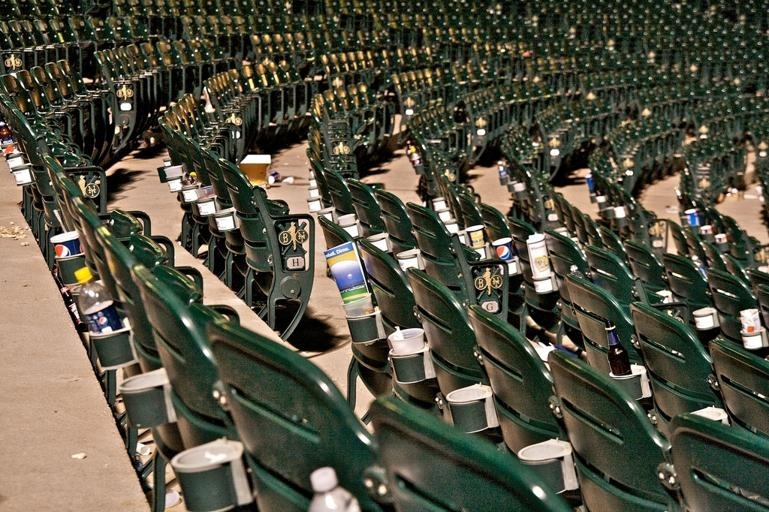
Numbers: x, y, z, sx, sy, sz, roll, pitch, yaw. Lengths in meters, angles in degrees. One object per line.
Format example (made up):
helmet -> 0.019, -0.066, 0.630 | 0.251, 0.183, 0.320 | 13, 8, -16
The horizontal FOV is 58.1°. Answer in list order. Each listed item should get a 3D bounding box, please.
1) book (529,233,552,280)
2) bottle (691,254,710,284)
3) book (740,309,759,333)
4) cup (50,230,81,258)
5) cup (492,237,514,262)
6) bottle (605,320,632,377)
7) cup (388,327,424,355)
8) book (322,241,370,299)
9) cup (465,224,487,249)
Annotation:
book -> 1.010, -0.005, 4.490 | 0.162, 0.347, 0.314 | -1, 22, 13
bottle -> 2.468, 0.099, 5.388 | 0.155, 0.184, 0.142 | -5, 28, 3
book -> 1.987, 0.354, 3.796 | 0.112, 0.125, 0.046 | 8, -11, -37
cup -> -1.507, -0.060, 3.290 | 0.151, 0.109, 0.152 | -5, 11, 1
cup -> 0.784, -0.033, 4.547 | 0.148, 0.155, 0.115 | -26, 50, 31
bottle -> 1.001, 0.390, 2.949 | 0.108, 0.283, 0.191 | 2, 23, 19
cup -> 0.094, 0.335, 2.807 | 0.142, 0.067, 0.156 | -5, 21, 2
book -> -0.179, 0.060, 3.298 | 0.170, 0.277, 0.220 | -9, 22, -6
cup -> 0.635, -0.140, 4.790 | 0.162, 0.161, 0.159 | -12, 14, 3
